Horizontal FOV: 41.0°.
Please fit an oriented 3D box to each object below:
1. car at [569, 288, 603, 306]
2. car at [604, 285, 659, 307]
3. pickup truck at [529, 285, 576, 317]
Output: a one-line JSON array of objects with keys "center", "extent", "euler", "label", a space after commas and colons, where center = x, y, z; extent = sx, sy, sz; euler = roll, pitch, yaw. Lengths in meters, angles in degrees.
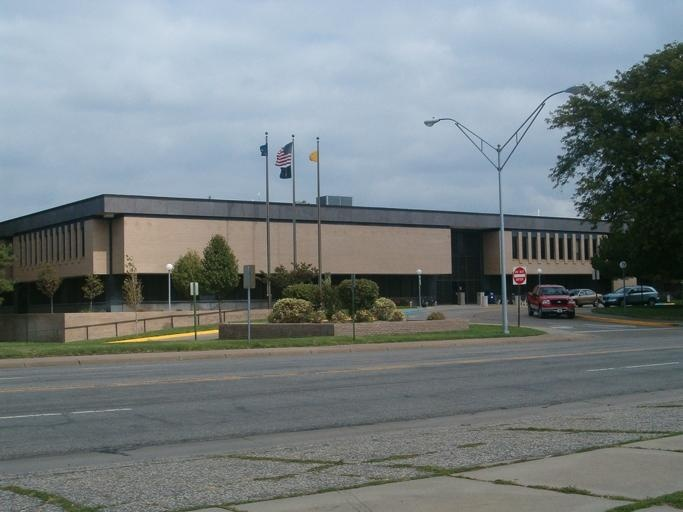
[{"center": [18.485, 3.060, 68.974], "extent": [2.559, 0.894, 1.082], "euler": [8, -10, -31], "label": "car"}, {"center": [20.844, 2.804, 66.018], "extent": [2.895, 1.442, 5.087], "euler": [-7, -6, 40], "label": "car"}, {"center": [12.252, 2.604, 53.848], "extent": [1.531, 1.007, 2.882], "euler": [0, -6, -7], "label": "pickup truck"}]
